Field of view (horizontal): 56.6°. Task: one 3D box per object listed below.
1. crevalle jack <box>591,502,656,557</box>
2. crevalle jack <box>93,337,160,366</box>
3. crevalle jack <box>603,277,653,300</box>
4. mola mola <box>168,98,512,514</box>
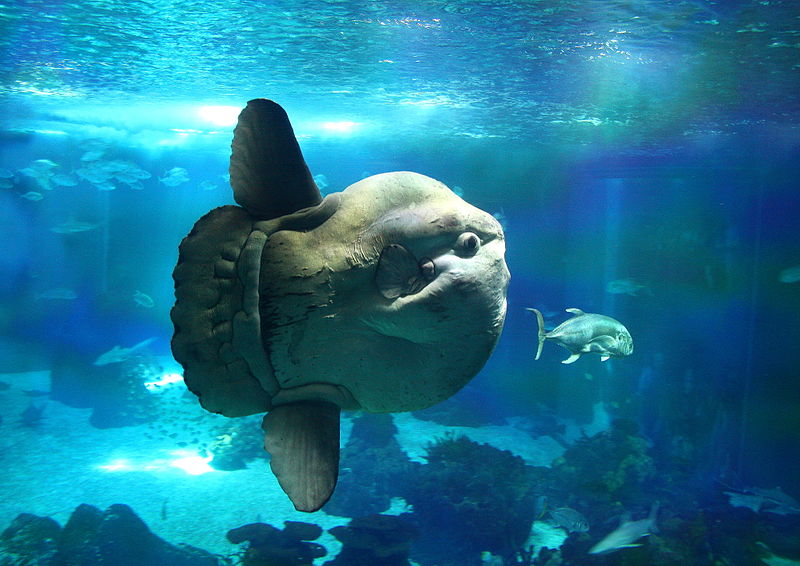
[{"bbox_3d":[5.034,5.496,16.399,2.016,0.889,1.705,1,2,17],"label":"crevalle jack"},{"bbox_3d":[-8.079,2.106,21.669,0.665,0.973,2.152,24,-12,5],"label":"crevalle jack"},{"bbox_3d":[6.666,0.257,20.493,1.771,0.466,0.760,5,23,2],"label":"crevalle jack"},{"bbox_3d":[-0.601,0.164,13.546,6.331,6.378,5.209,4,14,-20],"label":"mola mola"}]
